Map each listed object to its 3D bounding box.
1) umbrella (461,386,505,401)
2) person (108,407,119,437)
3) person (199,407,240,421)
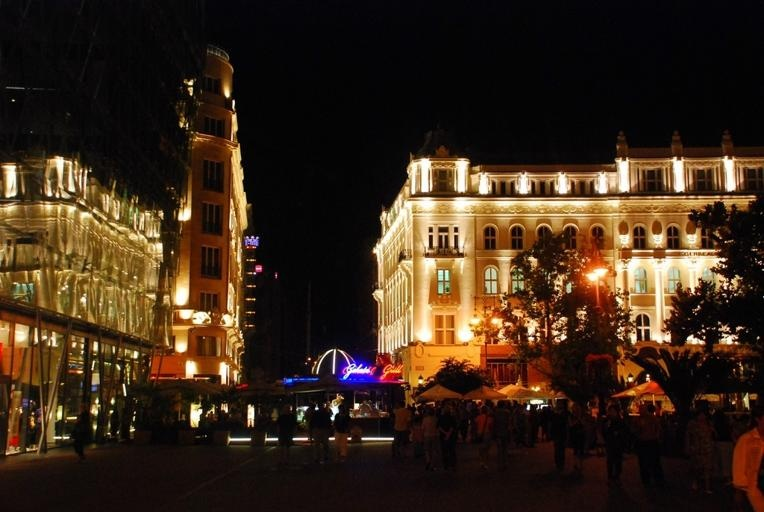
[{"bbox_3d":[6.158,8.120,52.848,2.102,0.869,2.152,7,-15,-19],"label":"umbrella"},{"bbox_3d":[-14.049,8.677,47.256,0.409,1.642,0.932,-1,-12,-1],"label":"person"},{"bbox_3d":[-8.684,8.672,49.475,1.497,0.474,1.529,-4,-11,29],"label":"person"}]
